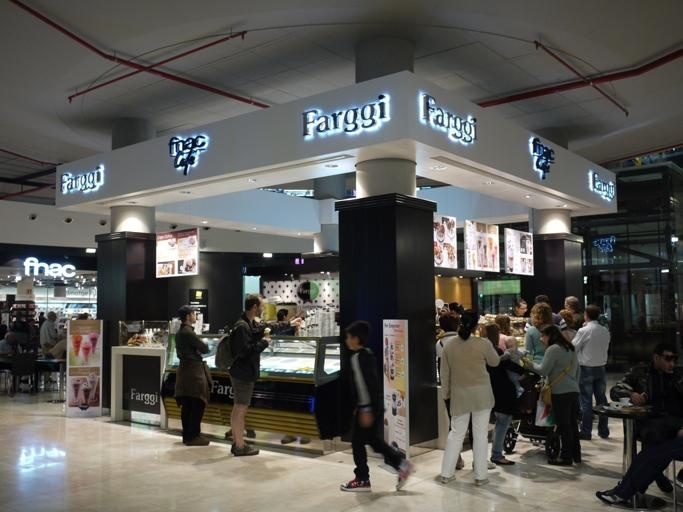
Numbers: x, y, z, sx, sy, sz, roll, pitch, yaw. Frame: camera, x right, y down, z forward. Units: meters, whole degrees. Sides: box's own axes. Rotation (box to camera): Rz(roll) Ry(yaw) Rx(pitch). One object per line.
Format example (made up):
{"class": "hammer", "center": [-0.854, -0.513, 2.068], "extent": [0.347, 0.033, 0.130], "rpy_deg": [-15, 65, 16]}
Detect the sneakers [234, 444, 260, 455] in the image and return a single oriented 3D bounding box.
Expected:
{"class": "sneakers", "center": [-1.217, 2.459, 7.009], "extent": [0.251, 0.095, 0.136], "rpy_deg": [0, -4, -16]}

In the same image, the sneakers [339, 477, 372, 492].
{"class": "sneakers", "center": [0.154, 2.376, 5.784], "extent": [0.332, 0.137, 0.119], "rpy_deg": [1, -13, 9]}

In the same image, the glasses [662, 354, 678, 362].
{"class": "glasses", "center": [3.198, 1.000, 5.357], "extent": [0.082, 0.083, 0.030], "rpy_deg": [4, -39, 11]}

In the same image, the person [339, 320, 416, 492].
{"class": "person", "center": [0.324, 1.555, 5.720], "extent": [0.556, 1.756, 0.495], "rpy_deg": [1, -5, -33]}

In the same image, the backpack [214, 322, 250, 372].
{"class": "backpack", "center": [-1.396, 1.122, 7.091], "extent": [0.355, 0.611, 0.450], "rpy_deg": [5, 3, 8]}

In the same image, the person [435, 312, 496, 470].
{"class": "person", "center": [1.385, 1.505, 5.934], "extent": [0.651, 1.835, 0.326], "rpy_deg": [-2, -4, 9]}

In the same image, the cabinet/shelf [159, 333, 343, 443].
{"class": "cabinet/shelf", "center": [-1.276, 1.771, 7.951], "extent": [2.625, 1.298, 1.243], "rpy_deg": [-1, -5, 29]}

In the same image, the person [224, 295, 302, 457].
{"class": "person", "center": [-1.164, 1.501, 6.994], "extent": [0.495, 2.013, 0.411], "rpy_deg": [0, -4, -12]}

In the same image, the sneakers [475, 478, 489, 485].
{"class": "sneakers", "center": [1.506, 2.401, 5.872], "extent": [0.160, 0.065, 0.052], "rpy_deg": [-4, 3, -38]}

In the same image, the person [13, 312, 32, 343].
{"class": "person", "center": [-9.278, 2.074, 16.039], "extent": [0.580, 1.016, 0.522], "rpy_deg": [1, -25, -18]}

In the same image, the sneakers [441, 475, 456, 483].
{"class": "sneakers", "center": [1.178, 2.422, 6.032], "extent": [0.170, 0.069, 0.056], "rpy_deg": [-1, 1, -39]}

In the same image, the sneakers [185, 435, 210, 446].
{"class": "sneakers", "center": [-1.944, 2.514, 7.531], "extent": [0.343, 0.136, 0.120], "rpy_deg": [0, -8, -4]}

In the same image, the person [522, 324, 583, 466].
{"class": "person", "center": [2.581, 1.640, 6.589], "extent": [0.702, 1.639, 0.276], "rpy_deg": [1, -4, -23]}

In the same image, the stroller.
{"class": "stroller", "center": [2.502, 1.913, 6.942], "extent": [0.947, 1.152, 0.861], "rpy_deg": [1, 17, 17]}

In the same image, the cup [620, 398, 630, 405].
{"class": "cup", "center": [2.889, 1.468, 5.614], "extent": [0.071, 0.064, 0.088], "rpy_deg": [4, -8, -35]}

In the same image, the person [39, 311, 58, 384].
{"class": "person", "center": [-6.720, 1.773, 12.713], "extent": [0.372, 1.009, 1.637], "rpy_deg": [1, -4, -27]}

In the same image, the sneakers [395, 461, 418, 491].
{"class": "sneakers", "center": [0.690, 2.308, 5.809], "extent": [0.189, 0.401, 0.140], "rpy_deg": [13, 20, 13]}

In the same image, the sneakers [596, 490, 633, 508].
{"class": "sneakers", "center": [2.634, 2.340, 5.346], "extent": [0.106, 0.134, 0.308], "rpy_deg": [5, -1, -43]}

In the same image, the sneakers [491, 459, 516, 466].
{"class": "sneakers", "center": [1.920, 2.435, 6.513], "extent": [0.285, 0.074, 0.096], "rpy_deg": [-2, -4, 3]}
